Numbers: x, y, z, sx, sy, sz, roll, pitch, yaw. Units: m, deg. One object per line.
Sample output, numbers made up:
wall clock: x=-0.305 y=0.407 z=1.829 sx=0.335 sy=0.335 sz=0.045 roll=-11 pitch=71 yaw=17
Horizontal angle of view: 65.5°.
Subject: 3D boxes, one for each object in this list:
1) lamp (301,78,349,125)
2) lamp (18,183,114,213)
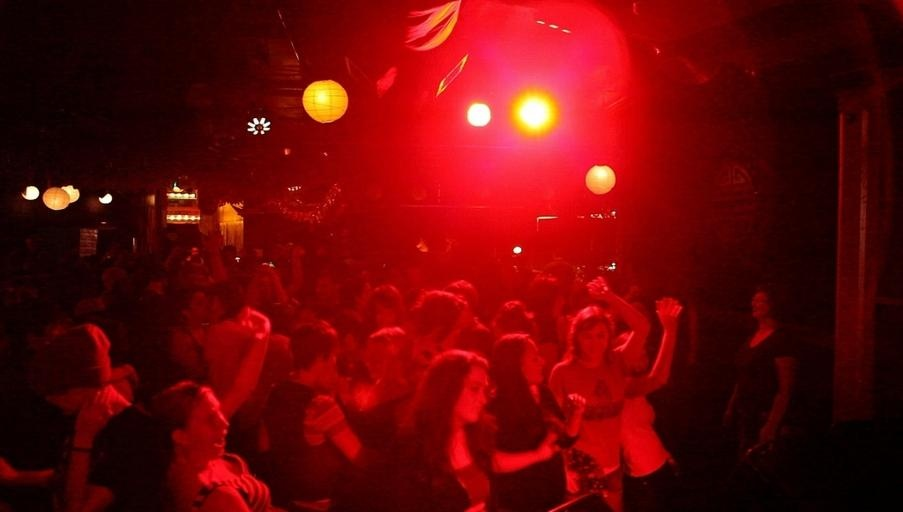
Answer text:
lamp: x=-2.184 y=-2.681 z=12.157 sx=0.792 sy=0.758 sz=0.763 roll=1 pitch=-81 yaw=-13
lamp: x=-8.906 y=-1.319 z=15.774 sx=0.976 sy=0.502 sz=1.766 roll=-1 pitch=0 yaw=-42
